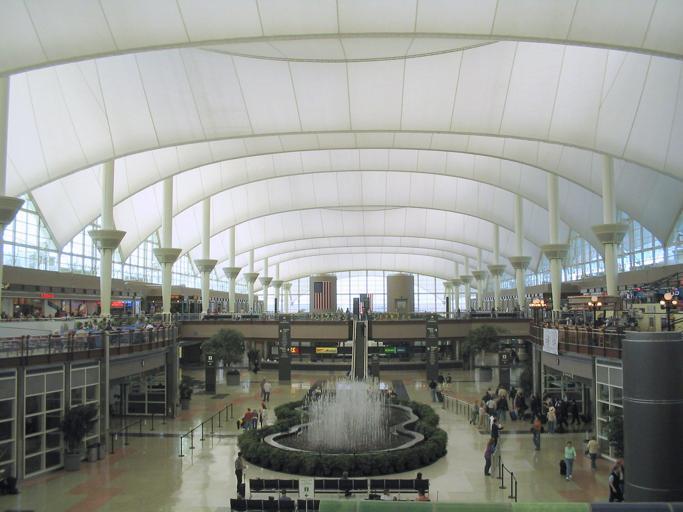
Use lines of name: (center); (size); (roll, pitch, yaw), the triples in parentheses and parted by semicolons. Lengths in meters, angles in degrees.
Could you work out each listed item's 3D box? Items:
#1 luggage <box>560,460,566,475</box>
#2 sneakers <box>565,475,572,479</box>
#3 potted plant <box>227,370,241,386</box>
luggage: (8.688, 8.269, 23.434); (0.208, 0.528, 0.460); (-2, -8, 14)
sneakers: (8.747, 8.457, 22.993); (0.183, 0.144, 0.376); (-6, -9, 31)
potted plant: (-8.153, 9.055, 44.683); (0.927, 0.999, 0.990); (0, -4, -10)
